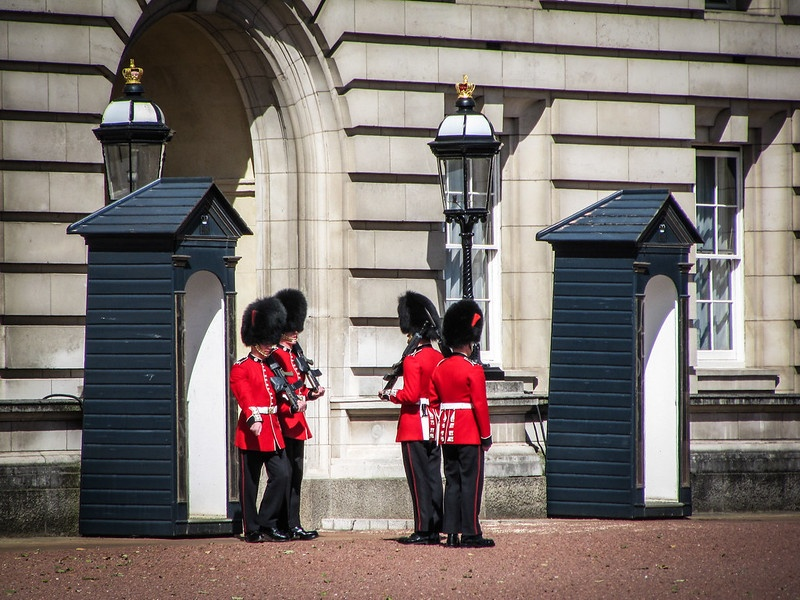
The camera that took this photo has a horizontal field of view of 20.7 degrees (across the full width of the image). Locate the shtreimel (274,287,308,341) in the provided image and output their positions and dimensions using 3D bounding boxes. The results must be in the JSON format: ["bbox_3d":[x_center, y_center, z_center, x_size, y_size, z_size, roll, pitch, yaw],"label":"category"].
[{"bbox_3d":[-0.904,0.078,18.164,0.158,0.362,0.260,-5,-9,38],"label":"shtreimel"}]

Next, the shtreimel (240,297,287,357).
[{"bbox_3d":[-1.125,0.188,17.985,0.302,0.489,0.304,1,2,-23],"label":"shtreimel"}]

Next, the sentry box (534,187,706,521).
[{"bbox_3d":[1.868,0.394,18.799,1.358,2.892,0.789,-2,-9,3],"label":"sentry box"}]

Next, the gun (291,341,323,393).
[{"bbox_3d":[-0.792,0.558,18.481,0.150,0.426,0.086,-10,-38,-37],"label":"gun"}]

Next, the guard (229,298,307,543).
[{"bbox_3d":[-1.111,0.950,17.934,0.504,2.080,0.799,5,7,26],"label":"guard"}]

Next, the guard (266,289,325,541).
[{"bbox_3d":[-0.776,0.898,18.182,0.540,1.806,0.505,2,7,-25],"label":"guard"}]

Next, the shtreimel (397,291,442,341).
[{"bbox_3d":[0.156,0.098,18.098,0.158,0.414,0.286,-37,-23,34],"label":"shtreimel"}]
